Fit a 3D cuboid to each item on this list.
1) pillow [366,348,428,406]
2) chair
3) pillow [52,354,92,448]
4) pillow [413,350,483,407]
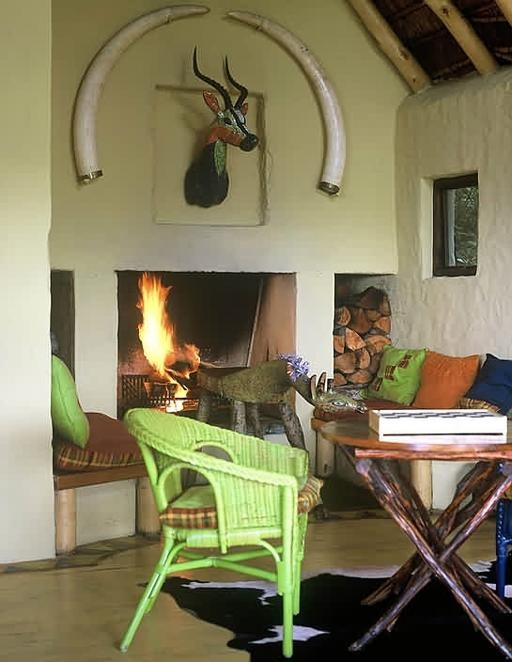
[{"bbox_3d":[0.945,0.294,4.308,0.110,0.325,0.352,19,-4,-23],"label":"pillow"},{"bbox_3d":[-0.057,0.629,2.351,0.804,0.817,0.700,-1,1,7],"label":"chair"},{"bbox_3d":[-0.867,0.331,3.055,0.163,0.436,0.190,0,-2,-14],"label":"pillow"},{"bbox_3d":[1.133,0.313,3.992,0.219,0.348,0.410,-1,4,-30],"label":"pillow"}]
